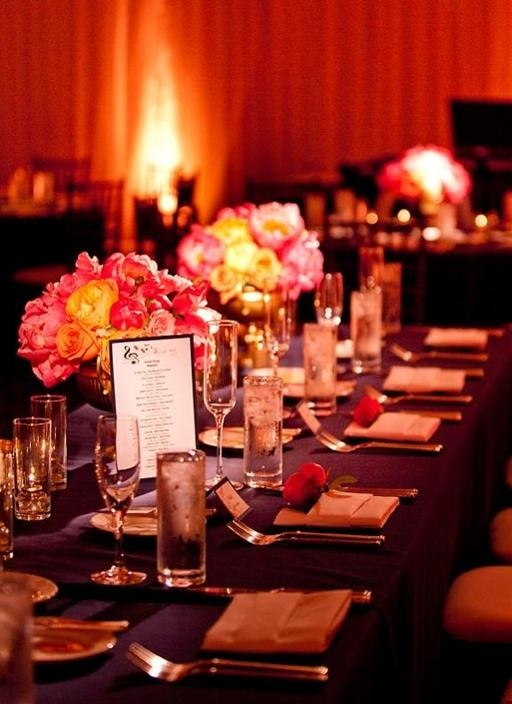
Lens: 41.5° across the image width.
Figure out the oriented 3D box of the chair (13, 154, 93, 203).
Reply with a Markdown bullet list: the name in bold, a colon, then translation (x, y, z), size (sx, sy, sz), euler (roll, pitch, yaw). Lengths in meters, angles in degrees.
- **chair**: translation (-2.342, -1.898, 7.659), size (0.914, 0.543, 0.656), euler (-3, 7, -15)

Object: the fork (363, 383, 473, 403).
- **fork**: translation (0.494, 0.126, 2.041), size (0.299, 0.055, 0.043), euler (-2, 7, 19)

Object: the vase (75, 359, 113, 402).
- **vase**: translation (-0.331, 0.060, 1.379), size (0.091, 0.072, 0.104), euler (0, -2, -2)

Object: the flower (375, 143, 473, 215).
- **flower**: translation (1.653, -1.678, 6.566), size (0.733, 0.554, 0.721), euler (-1, 5, -7)

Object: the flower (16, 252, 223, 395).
- **flower**: translation (-0.277, -0.099, 1.380), size (0.325, 0.272, 0.320), euler (4, 14, 5)

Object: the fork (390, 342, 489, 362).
- **fork**: translation (0.740, 0.005, 2.685), size (0.448, 0.080, 0.066), euler (-1, 6, 14)

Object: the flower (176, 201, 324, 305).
- **flower**: translation (-0.009, -0.329, 2.189), size (0.393, 0.274, 0.397), euler (-2, -3, -25)

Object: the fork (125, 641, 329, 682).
- **fork**: translation (-0.022, 0.292, 0.635), size (0.162, 0.027, 0.034), euler (1, -1, 7)

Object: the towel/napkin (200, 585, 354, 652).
- **towel/napkin**: translation (0.027, 0.270, 0.698), size (0.116, 0.023, 0.149), euler (0, 6, 20)

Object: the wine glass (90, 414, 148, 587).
- **wine glass**: translation (-0.181, 0.193, 0.865), size (0.071, 0.210, 0.088), euler (-3, 7, -7)

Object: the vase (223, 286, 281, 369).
- **vase**: translation (-0.004, -0.072, 2.222), size (0.247, 0.358, 0.244), euler (-1, 1, -2)
